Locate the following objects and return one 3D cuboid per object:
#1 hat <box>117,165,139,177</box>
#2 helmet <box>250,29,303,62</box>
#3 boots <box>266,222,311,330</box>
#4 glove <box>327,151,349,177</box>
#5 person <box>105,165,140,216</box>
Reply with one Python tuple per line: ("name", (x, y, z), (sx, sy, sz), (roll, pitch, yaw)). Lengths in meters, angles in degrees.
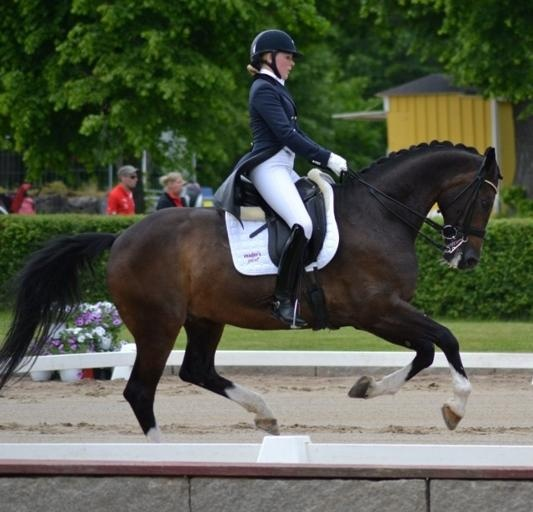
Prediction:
("hat", (-1.818, -1.103, 18.837), (0.264, 0.135, 0.183), (-14, 9, 12))
("helmet", (0.060, -1.985, 13.633), (0.367, 0.216, 0.269), (-7, 11, 1))
("boots", (0.227, 0.190, 13.273), (0.322, 0.946, 0.222), (-3, 11, -20))
("glove", (0.642, -0.862, 13.507), (0.155, 0.090, 0.212), (-17, 63, -51))
("person", (-2.056, -0.908, 20.537), (0.260, 0.786, 0.341), (12, 52, 2))
